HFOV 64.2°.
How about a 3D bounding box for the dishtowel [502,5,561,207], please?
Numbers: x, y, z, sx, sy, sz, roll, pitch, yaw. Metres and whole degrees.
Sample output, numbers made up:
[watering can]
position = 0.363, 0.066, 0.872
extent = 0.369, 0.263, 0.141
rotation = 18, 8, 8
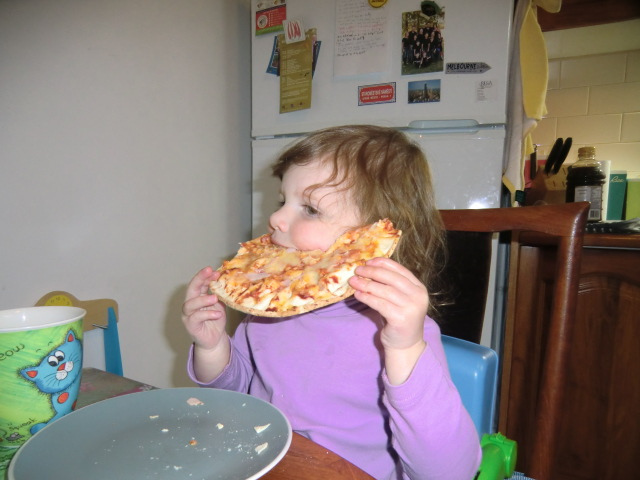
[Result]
[dishtowel]
position = 0.837, -0.579, 2.065
extent = 0.148, 0.753, 0.322
rotation = 3, 11, 23

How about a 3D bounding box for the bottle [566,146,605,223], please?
[bottle]
position = 1.086, -0.216, 2.078
extent = 0.139, 0.310, 0.132
rotation = -9, 4, 1

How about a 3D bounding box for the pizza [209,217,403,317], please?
[pizza]
position = -0.037, 0.072, 1.251
extent = 0.475, 0.083, 0.483
rotation = -25, 16, -32

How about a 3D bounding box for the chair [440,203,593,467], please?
[chair]
position = 0.507, 0.274, 1.442
extent = 0.329, 0.787, 0.650
rotation = 1, 10, 13

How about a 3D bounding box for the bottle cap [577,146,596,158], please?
[bottle cap]
position = 1.117, -0.354, 2.144
extent = 0.066, 0.048, 0.065
rotation = -2, 6, -29
